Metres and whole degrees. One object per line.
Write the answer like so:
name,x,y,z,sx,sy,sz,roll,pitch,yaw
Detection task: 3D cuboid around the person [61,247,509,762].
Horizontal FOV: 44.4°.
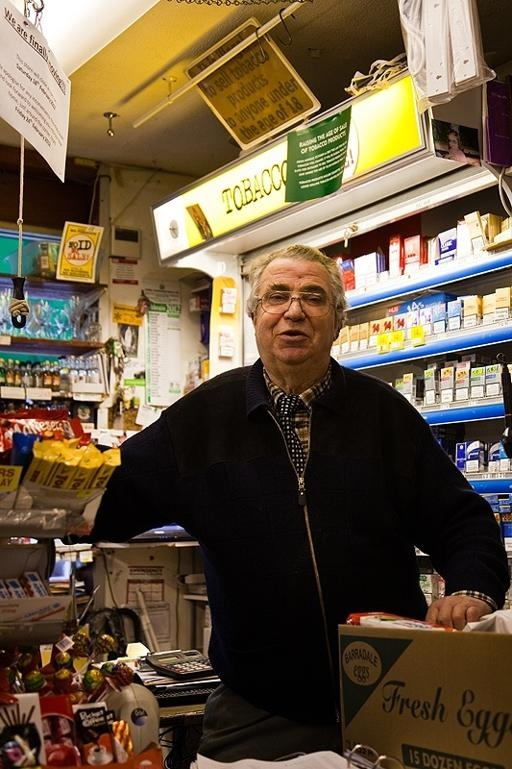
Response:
person,0.130,0.210,1.508,0.906,1.250,0.567,-1,-5,3

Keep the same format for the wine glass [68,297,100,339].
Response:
wine glass,-1.559,-0.589,5.638,0.281,0.456,0.293,0,-42,-19
